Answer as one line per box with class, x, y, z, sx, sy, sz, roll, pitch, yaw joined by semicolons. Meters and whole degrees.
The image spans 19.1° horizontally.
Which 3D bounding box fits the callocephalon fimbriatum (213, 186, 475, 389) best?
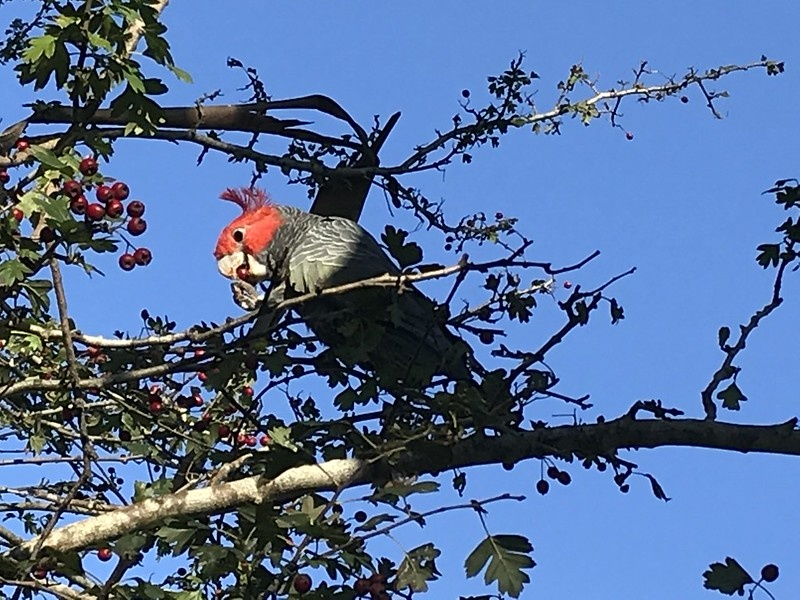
callocephalon fimbriatum;-0.497;-0.332;14.615;0.738;1.563;0.903;19;-66;43
